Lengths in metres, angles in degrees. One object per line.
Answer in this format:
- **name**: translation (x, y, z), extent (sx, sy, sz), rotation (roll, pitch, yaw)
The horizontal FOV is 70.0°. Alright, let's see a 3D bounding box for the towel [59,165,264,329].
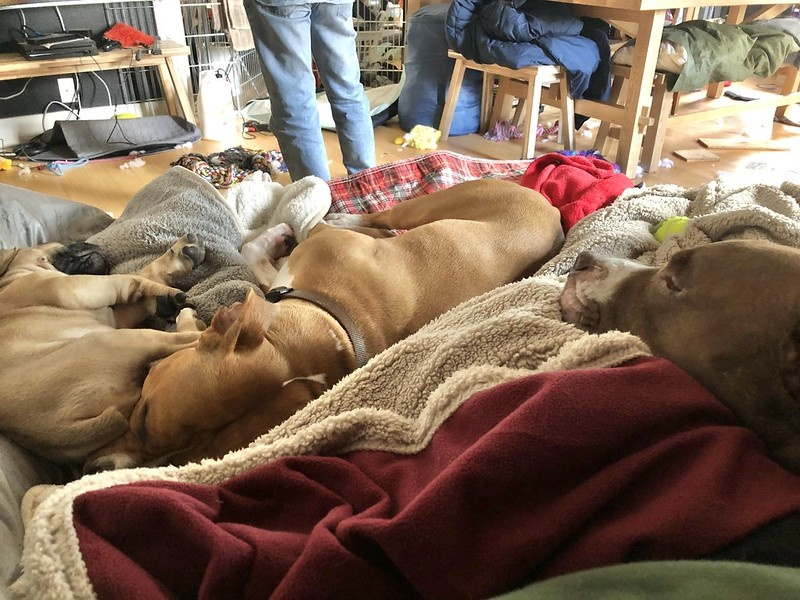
- **towel**: translation (-0.728, -0.104, 1.757), extent (0.533, 0.253, 0.666), rotation (6, 16, -41)

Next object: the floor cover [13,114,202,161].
- **floor cover**: translation (-1.777, -1.001, 3.552), extent (0.780, 0.141, 0.492), rotation (-14, 28, -26)

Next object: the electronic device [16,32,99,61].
- **electronic device**: translation (-2.117, -1.558, 3.514), extent (0.410, 0.151, 0.358), rotation (-13, 28, -27)

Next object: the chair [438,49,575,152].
- **chair**: translation (0.641, -1.235, 3.536), extent (0.555, 0.547, 0.690), rotation (-28, 48, -31)

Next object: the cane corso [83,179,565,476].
- **cane corso**: translation (-0.260, -0.027, 1.304), extent (0.314, 0.490, 0.839), rotation (-2, 16, 9)

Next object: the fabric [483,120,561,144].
- **fabric**: translation (0.821, -1.113, 3.824), extent (0.335, 0.102, 0.238), rotation (7, 27, 11)

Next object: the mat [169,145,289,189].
- **mat**: translation (-0.933, -0.740, 3.153), extent (0.496, 0.176, 0.629), rotation (21, 31, 35)
